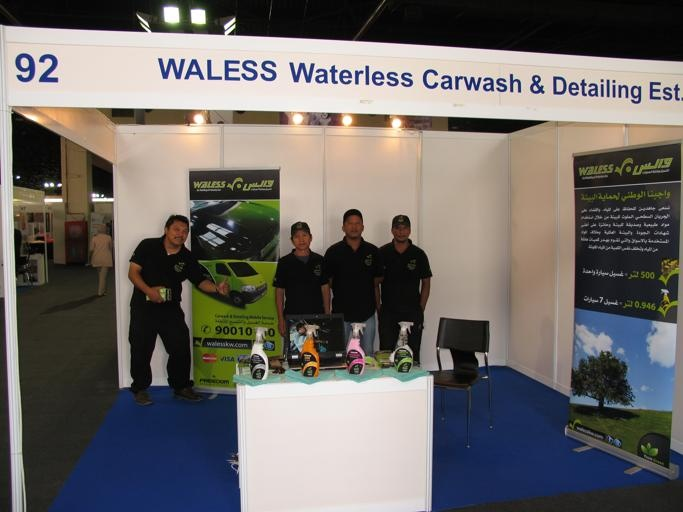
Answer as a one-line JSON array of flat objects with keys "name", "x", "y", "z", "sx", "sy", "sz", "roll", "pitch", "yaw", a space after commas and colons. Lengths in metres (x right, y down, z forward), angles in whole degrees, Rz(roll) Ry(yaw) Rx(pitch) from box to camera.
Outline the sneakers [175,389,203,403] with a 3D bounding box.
[{"name": "sneakers", "x": -1.623, "y": 1.470, "z": 5.419, "sx": 0.324, "sy": 0.160, "sz": 0.125, "roll": 2, "pitch": 2, "yaw": 2}]

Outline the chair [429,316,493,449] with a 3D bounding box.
[{"name": "chair", "x": 1.089, "y": 1.165, "z": 4.836, "sx": 0.697, "sy": 1.050, "sz": 0.723, "roll": -1, "pitch": 0, "yaw": -18}]

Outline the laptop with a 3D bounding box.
[{"name": "laptop", "x": -0.179, "y": 0.602, "z": 3.690, "sx": 0.409, "sy": 0.437, "sz": 0.341, "roll": -1, "pitch": -5, "yaw": -6}]

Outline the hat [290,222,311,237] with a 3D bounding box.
[{"name": "hat", "x": -0.399, "y": -0.267, "z": 5.012, "sx": 0.170, "sy": 0.139, "sz": 0.099, "roll": -3, "pitch": 9, "yaw": -19}]

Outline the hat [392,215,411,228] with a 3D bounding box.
[{"name": "hat", "x": 0.624, "y": -0.381, "z": 5.296, "sx": 0.116, "sy": 0.097, "sz": 0.167, "roll": 2, "pitch": -5, "yaw": 6}]
